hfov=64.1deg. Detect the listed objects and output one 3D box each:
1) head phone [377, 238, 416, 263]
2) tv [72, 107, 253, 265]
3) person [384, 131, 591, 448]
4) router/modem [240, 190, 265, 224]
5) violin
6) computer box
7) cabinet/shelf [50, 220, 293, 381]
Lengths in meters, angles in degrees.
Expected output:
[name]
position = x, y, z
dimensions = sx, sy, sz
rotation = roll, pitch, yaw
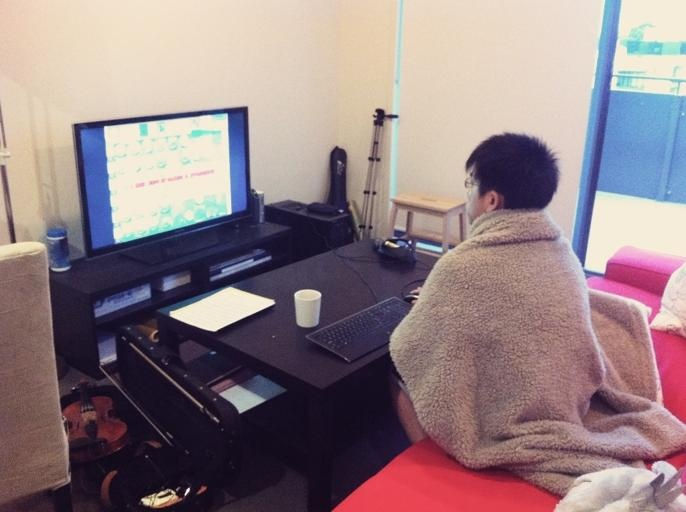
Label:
[head phone]
position = 0.277, -0.037, 2.781
dimensions = 0.152, 0.067, 0.122
rotation = 11, 19, 26
[tv]
position = -0.987, -0.468, 3.210
dimensions = 0.055, 0.716, 1.208
rotation = 16, 25, 32
[person]
position = 0.598, 0.091, 2.053
dimensions = 0.685, 1.045, 0.608
rotation = -12, 16, -38
[router/modem]
position = -0.606, -0.327, 3.620
dimensions = 0.132, 0.243, 0.144
rotation = 14, 21, 27
[violin]
position = -1.035, 0.666, 2.271
dimensions = 0.207, 0.105, 0.355
rotation = -10, 36, -23
[computer box]
position = -0.250, -0.177, 4.233
dimensions = 0.518, 0.425, 0.625
rotation = 20, 27, 40
[cabinet/shelf]
position = -0.928, 0.176, 3.307
dimensions = 0.413, 0.476, 1.373
rotation = 16, 26, 37
